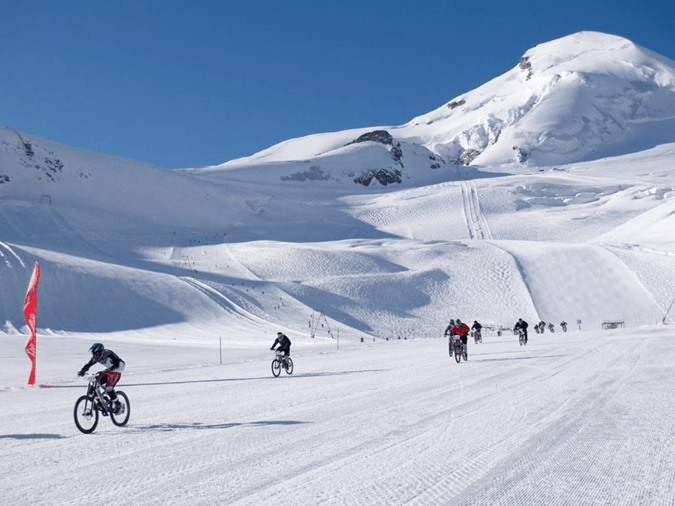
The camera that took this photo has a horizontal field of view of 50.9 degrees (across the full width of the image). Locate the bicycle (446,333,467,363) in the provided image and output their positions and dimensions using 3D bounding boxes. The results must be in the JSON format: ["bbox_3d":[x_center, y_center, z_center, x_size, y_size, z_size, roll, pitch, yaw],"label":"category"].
[{"bbox_3d":[4.572,3.611,27.007,0.586,0.657,1.158,-7,-14,21],"label":"bicycle"}]

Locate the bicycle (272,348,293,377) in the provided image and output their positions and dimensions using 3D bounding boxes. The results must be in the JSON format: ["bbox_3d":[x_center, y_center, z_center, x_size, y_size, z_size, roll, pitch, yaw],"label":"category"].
[{"bbox_3d":[-1.934,3.737,24.648,0.682,0.888,1.077,0,1,23],"label":"bicycle"}]

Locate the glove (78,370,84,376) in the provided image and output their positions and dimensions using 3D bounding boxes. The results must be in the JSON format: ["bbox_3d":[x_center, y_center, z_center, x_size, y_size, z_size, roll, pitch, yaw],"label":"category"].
[{"bbox_3d":[-6.195,2.886,17.179,0.136,0.059,0.158,2,0,-16],"label":"glove"}]
